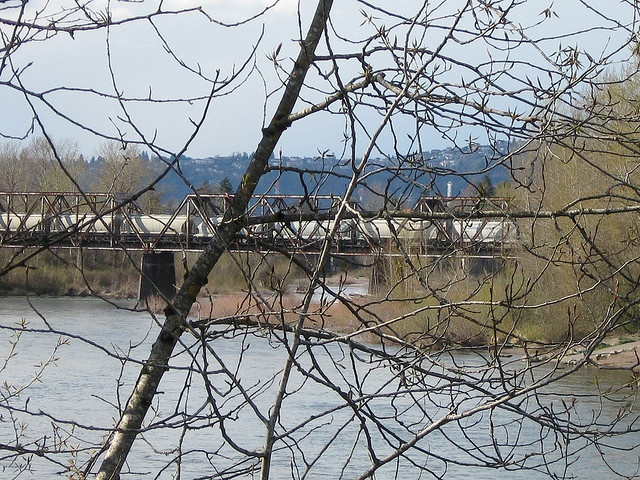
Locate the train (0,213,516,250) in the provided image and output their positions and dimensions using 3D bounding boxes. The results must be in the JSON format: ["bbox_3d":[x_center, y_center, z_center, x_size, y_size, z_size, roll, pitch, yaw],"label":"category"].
[{"bbox_3d":[-1.153,-0.191,30.451,11.142,1.464,1.386,0,-1,15],"label":"train"}]
